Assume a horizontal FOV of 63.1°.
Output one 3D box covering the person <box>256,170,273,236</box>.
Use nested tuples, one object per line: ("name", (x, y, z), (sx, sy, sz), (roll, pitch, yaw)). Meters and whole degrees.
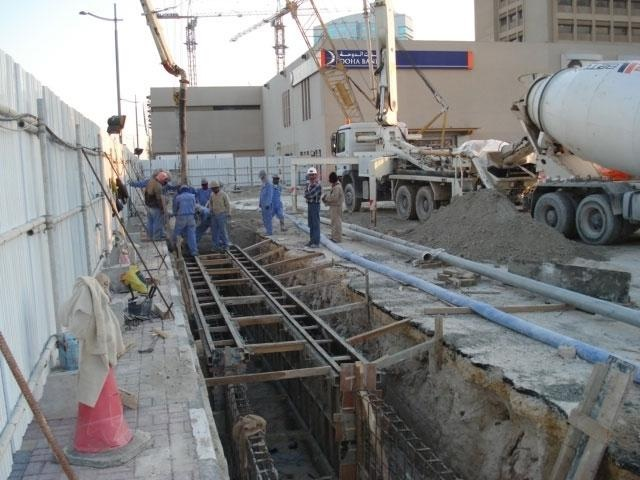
("person", (-1.626, -1.129, 15.937), (0.379, 1.967, 1.500), (-4, 8, -6))

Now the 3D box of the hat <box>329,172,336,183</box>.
("hat", (0.341, -1.631, 13.558), (0.205, 0.281, 0.243), (-7, 5, -35))

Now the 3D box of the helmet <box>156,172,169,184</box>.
("helmet", (-4.560, -1.782, 15.066), (0.337, 0.300, 0.248), (35, 32, 18))

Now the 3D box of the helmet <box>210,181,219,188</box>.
("helmet", (-2.756, -1.466, 13.644), (0.216, 0.176, 0.451), (-5, 9, -12))

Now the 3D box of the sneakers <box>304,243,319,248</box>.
("sneakers", (-0.198, 0.092, 13.683), (0.327, 0.150, 0.119), (12, 15, 42))

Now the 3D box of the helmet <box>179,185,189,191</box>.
("helmet", (-3.521, -1.348, 13.456), (0.137, 0.154, 0.152), (-2, 9, -6))

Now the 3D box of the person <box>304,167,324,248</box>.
("person", (-0.173, -0.851, 13.718), (0.407, 2.045, 1.252), (-3, 8, -1))

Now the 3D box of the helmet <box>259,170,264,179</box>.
("helmet", (-1.743, -1.950, 15.364), (0.188, 0.223, 0.186), (-3, 6, 4))
